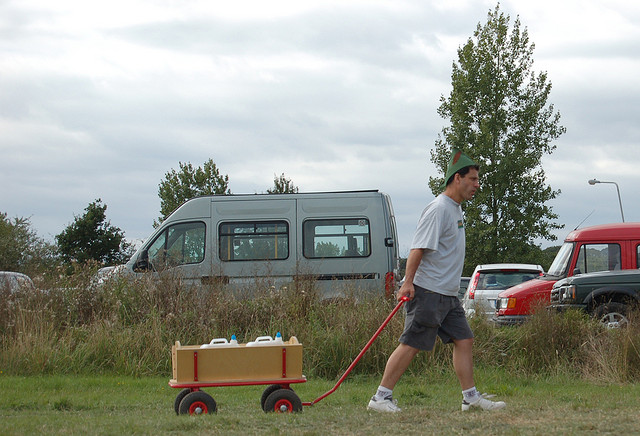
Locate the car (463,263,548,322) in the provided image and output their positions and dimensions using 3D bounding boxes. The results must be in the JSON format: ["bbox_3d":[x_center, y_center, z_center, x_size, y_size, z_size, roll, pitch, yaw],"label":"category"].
[{"bbox_3d":[4.822,1.782,18.778,1.335,1.427,2.426,0,-3,4],"label":"car"}]

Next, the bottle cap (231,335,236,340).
[{"bbox_3d":[-1.251,1.727,10.376,0.046,0.056,0.052,1,-12,-2],"label":"bottle cap"}]

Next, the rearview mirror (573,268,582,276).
[{"bbox_3d":[5.843,1.250,16.288,0.145,0.160,0.120,-1,-7,0],"label":"rearview mirror"}]

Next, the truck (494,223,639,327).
[{"bbox_3d":[5.808,1.350,16.834,3.111,2.187,2.037,-1,-5,2],"label":"truck"}]

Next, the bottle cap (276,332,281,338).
[{"bbox_3d":[-0.598,1.709,10.483,0.051,0.075,0.058,7,-14,16],"label":"bottle cap"}]
